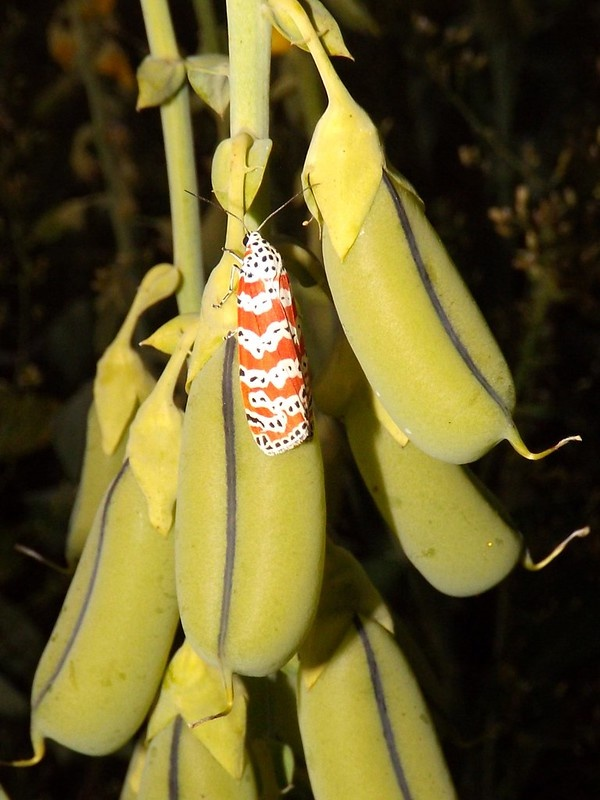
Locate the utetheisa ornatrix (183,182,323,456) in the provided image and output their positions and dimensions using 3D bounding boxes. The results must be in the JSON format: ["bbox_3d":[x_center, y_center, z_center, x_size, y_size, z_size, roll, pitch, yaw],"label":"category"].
[{"bbox_3d":[-0.020,-0.032,0.493,0.053,0.035,0.104,-4,73,-16],"label":"utetheisa ornatrix"}]
